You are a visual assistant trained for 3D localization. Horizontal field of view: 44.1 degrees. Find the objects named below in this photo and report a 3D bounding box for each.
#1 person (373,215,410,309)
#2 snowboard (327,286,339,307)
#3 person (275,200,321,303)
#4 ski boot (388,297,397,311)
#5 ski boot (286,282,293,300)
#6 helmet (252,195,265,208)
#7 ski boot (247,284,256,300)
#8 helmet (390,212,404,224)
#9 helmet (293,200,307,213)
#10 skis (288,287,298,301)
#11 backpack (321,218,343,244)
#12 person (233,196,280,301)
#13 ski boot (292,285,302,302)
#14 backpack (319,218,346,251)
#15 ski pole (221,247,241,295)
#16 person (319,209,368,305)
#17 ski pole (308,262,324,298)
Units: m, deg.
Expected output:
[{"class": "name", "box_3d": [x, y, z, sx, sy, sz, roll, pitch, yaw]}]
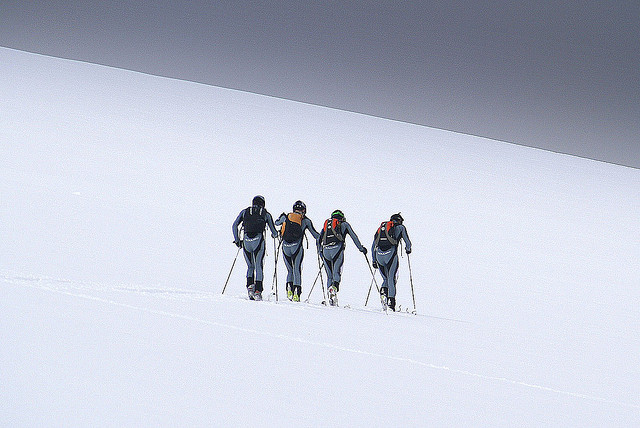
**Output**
[{"class": "person", "box_3d": [1.025, 0.656, 11.719, 0.529, 1.385, 0.443, 2, -9, 29]}, {"class": "snowboard", "box_3d": [0.183, 1.187, 11.465, 0.155, 0.233, 0.066, 12, -15, -31]}, {"class": "person", "box_3d": [-0.393, 0.514, 11.590, 0.664, 1.467, 0.321, 7, -8, -3]}, {"class": "ski boot", "box_3d": [1.024, 1.285, 11.356, 0.087, 0.166, 0.151, 0, 22, 3]}, {"class": "ski boot", "box_3d": [-0.453, 1.099, 11.409, 0.069, 0.235, 0.155, 0, 1, 8]}, {"class": "helmet", "box_3d": [-0.924, -0.190, 11.653, 0.110, 0.168, 0.138, 2, 3, 0]}, {"class": "ski boot", "box_3d": [-0.976, 1.078, 11.084, 0.089, 0.223, 0.068, 1, -1, 27]}, {"class": "helmet", "box_3d": [1.170, 0.048, 11.985, 0.115, 0.170, 0.147, -9, 7, -4]}, {"class": "helmet", "box_3d": [-0.317, -0.129, 11.807, 0.125, 0.149, 0.172, 1, -43, 12]}, {"class": "skis", "box_3d": [-0.403, 1.131, 11.393, 0.154, 0.179, 0.075, 8, -8, -2]}, {"class": "backpack", "box_3d": [0.200, 0.265, 11.843, 0.368, 0.479, 0.269, -3, -11, 39]}, {"class": "person", "box_3d": [-0.918, 0.469, 11.408, 0.666, 1.514, 0.474, 14, -11, -40]}, {"class": "ski boot", "box_3d": [-0.349, 1.128, 11.408, 0.122, 0.233, 0.108, 8, -8, -5]}, {"class": "backpack", "box_3d": [0.162, 0.179, 11.799, 0.380, 0.280, 0.470, 12, -48, 14]}, {"class": "ski pole", "box_3d": [-1.269, 0.814, 11.090, 0.011, 0.796, 0.057, 12, -32, 17]}, {"class": "person", "box_3d": [0.289, 0.625, 11.681, 0.626, 1.405, 0.343, 8, -8, -6]}, {"class": "ski pole", "box_3d": [-0.067, 0.978, 11.545, 0.037, 0.565, 0.019, 34, -15, -35]}]
